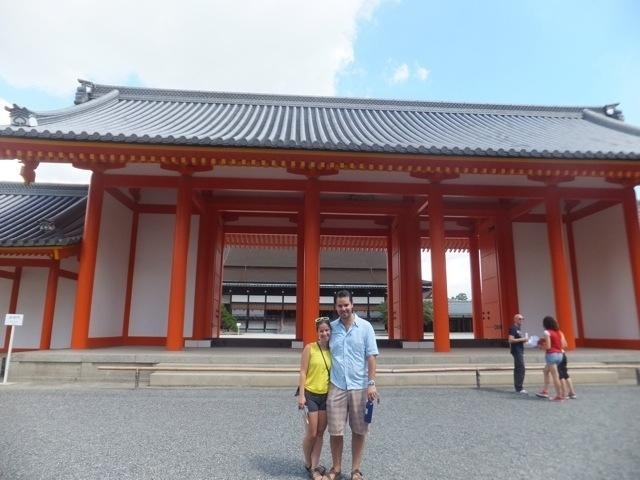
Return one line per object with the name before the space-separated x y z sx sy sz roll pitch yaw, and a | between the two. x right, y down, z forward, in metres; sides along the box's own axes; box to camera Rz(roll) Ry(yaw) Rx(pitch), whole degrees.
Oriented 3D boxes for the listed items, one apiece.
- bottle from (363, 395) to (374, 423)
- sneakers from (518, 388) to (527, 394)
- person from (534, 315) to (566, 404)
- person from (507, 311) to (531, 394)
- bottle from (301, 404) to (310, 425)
bottle | 0.541 1.918 5.078 0.087 0.297 0.193 0 -1 5
sneakers | 3.842 2.872 8.588 0.186 0.068 0.070 0 -2 4
person | 4.286 2.181 8.421 0.436 1.475 1.172 0 -1 28
person | 3.867 2.201 8.856 0.302 1.451 0.922 0 -1 22
bottle | -0.172 1.987 5.197 0.068 0.230 0.173 1 -1 -10
